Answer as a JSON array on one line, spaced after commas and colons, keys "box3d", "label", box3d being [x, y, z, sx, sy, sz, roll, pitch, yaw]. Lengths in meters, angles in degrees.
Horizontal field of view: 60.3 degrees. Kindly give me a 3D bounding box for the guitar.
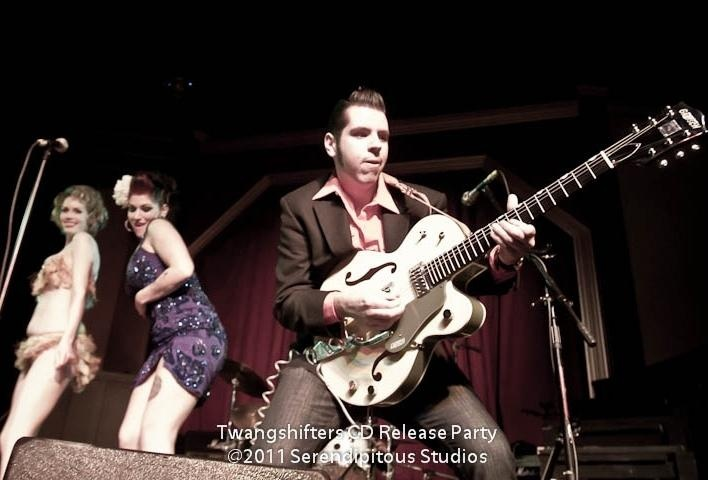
[{"box3d": [1.440, 0.188, 5.011, 3.220, 1.198, 0.383, -37, -21, 3], "label": "guitar"}]
